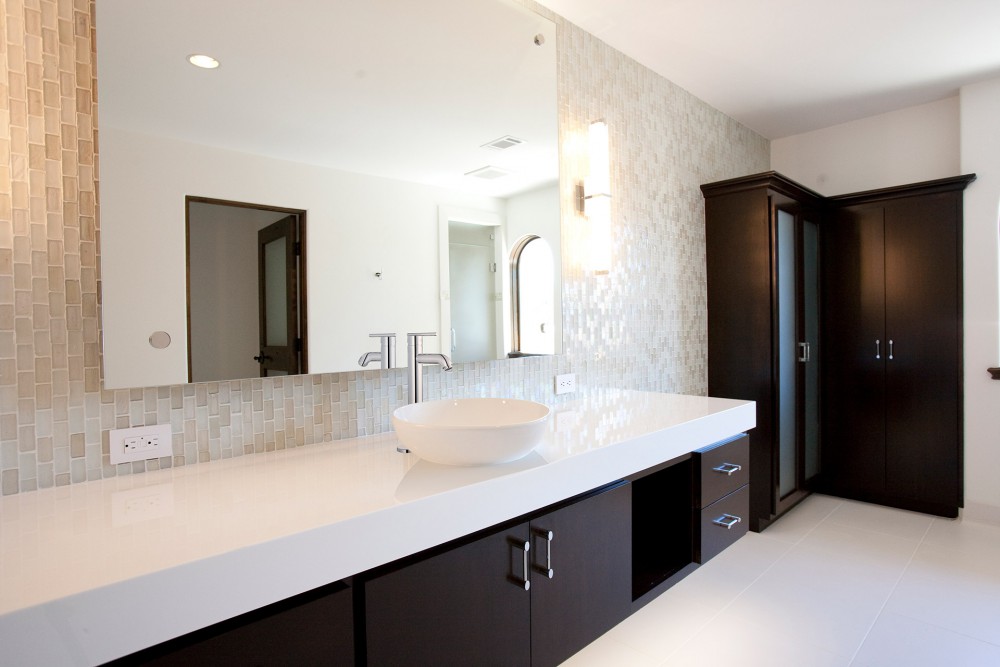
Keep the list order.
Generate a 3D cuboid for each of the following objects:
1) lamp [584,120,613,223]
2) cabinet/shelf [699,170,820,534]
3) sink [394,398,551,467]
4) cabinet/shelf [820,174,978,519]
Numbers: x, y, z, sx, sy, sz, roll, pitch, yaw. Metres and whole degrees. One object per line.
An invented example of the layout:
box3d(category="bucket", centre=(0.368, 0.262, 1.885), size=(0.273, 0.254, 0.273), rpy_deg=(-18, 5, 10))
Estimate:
box3d(category="lamp", centre=(0.524, -0.888, 3.762), size=(0.130, 0.518, 0.124), rpy_deg=(2, 11, 16))
box3d(category="cabinet/shelf", centre=(1.873, 0.057, 4.668), size=(0.902, 2.239, 0.706), rpy_deg=(-5, 11, -19))
box3d(category="sink", centre=(-0.114, 0.369, 2.807), size=(0.600, 0.175, 0.553), rpy_deg=(-4, 11, -9))
box3d(category="cabinet/shelf", centre=(2.688, 0.061, 4.758), size=(0.901, 2.207, 0.510), rpy_deg=(3, 12, 24))
